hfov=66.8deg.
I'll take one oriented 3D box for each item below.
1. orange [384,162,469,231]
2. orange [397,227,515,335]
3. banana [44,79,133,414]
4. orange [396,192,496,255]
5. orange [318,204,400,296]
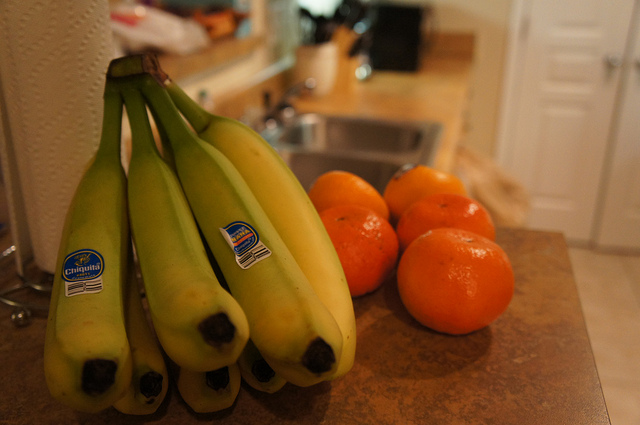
[{"bbox_3d":[0.188,-0.053,0.938,0.149,0.121,0.137,3,23,-1],"label":"orange"},{"bbox_3d":[0.203,0.106,0.740,0.169,0.135,0.097,7,26,10],"label":"orange"},{"bbox_3d":[-0.294,0.033,0.655,0.105,0.411,0.138,6,-20,-30],"label":"banana"},{"bbox_3d":[0.200,0.003,0.805,0.119,0.112,0.114,-8,2,-15],"label":"orange"},{"bbox_3d":[0.067,0.045,0.817,0.115,0.089,0.111,11,34,28],"label":"orange"}]
